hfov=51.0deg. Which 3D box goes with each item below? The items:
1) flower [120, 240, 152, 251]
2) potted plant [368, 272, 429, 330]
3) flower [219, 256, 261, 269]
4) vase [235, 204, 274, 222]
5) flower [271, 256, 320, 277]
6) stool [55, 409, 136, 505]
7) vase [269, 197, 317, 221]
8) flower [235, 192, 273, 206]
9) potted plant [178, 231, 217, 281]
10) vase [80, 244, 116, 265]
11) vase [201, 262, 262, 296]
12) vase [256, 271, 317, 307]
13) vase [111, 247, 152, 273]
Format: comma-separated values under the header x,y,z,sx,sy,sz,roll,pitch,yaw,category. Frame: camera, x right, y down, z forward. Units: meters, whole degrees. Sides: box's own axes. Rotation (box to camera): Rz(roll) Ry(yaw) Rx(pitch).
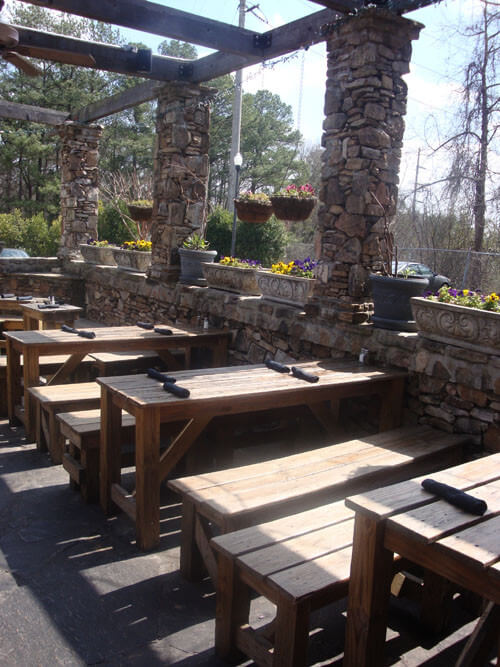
x,y,z,sx,sy,sz,roll,pitch,yaw,category
-1.878,-1.479,8.807,0.437,0.210,0.429,-1,5,-43,flower
1.103,-0.282,4.182,0.459,0.389,0.426,2,10,-3,potted plant
-0.180,-0.848,6.610,0.417,0.131,0.293,23,25,26,flower
0.048,-1.672,7.207,0.492,0.227,0.492,0,13,-11,vase
0.444,-0.680,5.435,0.305,0.169,0.403,-7,13,-40,flower
-1.103,0.739,3.689,0.626,0.592,0.540,-5,9,-40,stool
0.502,-1.512,6.351,0.524,0.263,0.435,4,5,2,vase
0.024,-1.870,7.208,0.480,0.220,0.415,4,5,-6,flower
-0.781,-1.052,7.229,0.609,0.692,0.608,1,1,-6,potted plant
-2.908,-1.514,10.133,0.449,0.412,1.224,1,6,-28,vase
-0.222,-0.651,6.255,0.254,0.352,0.910,0,7,-39,vase
0.326,-0.454,5.284,0.165,0.335,0.944,1,6,-28,vase
-1.963,-1.213,8.708,0.350,0.401,1.044,1,6,-27,vase
